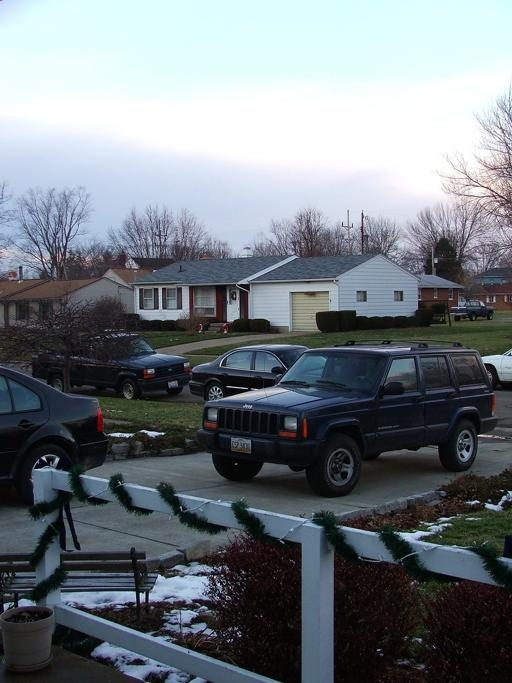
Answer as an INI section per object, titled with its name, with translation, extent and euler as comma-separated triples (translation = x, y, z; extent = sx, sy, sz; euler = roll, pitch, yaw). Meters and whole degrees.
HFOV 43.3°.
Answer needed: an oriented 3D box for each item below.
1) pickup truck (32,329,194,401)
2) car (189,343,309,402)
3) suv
[pickup truck]
translation = -4.230, 0.584, 18.531
extent = 4.189, 1.492, 2.013
euler = 0, 4, 32
[car]
translation = -0.208, 0.705, 15.387
extent = 2.764, 0.808, 1.204
euler = -8, -3, 38
[suv]
translation = 1.358, 0.911, 8.990
extent = 1.957, 1.448, 3.629
euler = -3, -4, 45
